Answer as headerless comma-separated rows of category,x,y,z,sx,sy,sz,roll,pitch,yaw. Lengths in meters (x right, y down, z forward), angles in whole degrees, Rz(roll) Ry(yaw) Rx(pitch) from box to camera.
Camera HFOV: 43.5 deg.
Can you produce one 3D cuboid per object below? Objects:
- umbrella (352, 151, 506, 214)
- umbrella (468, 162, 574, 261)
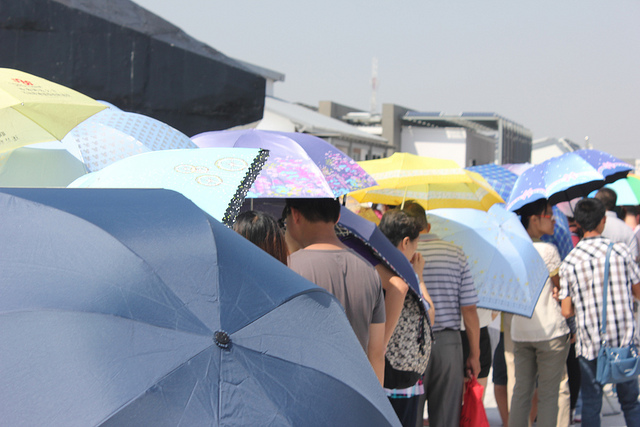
umbrella,0.977,-0.263,7.395,0.867,0.357,0.849,31,-24,-29
umbrella,2.396,-0.099,9.038,1.173,1.030,1.433,-15,7,10
